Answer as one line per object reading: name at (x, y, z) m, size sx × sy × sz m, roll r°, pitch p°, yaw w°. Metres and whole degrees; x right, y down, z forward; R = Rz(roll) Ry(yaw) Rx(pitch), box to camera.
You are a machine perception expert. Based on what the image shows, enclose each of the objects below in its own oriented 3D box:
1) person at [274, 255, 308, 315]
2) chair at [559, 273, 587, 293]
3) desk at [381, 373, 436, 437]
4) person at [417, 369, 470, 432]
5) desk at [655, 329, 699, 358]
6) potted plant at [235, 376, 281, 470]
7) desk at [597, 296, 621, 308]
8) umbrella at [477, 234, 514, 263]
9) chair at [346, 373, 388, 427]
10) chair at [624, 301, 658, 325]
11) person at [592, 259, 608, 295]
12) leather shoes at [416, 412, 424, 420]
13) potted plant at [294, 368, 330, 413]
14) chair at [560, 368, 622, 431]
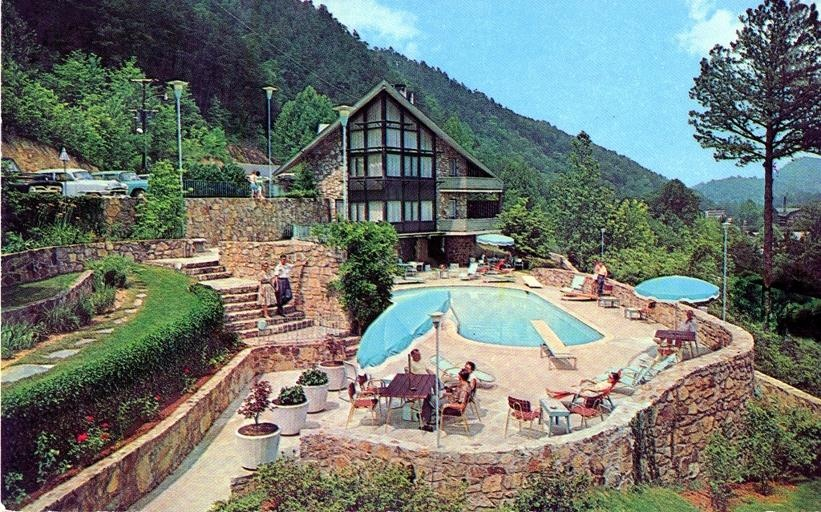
person at (-6.397, 1.491, 29.960) m, size 0.698 × 3.052 × 1.334 m, roll 0°, pitch 6°, yaw 18°
chair at (11.796, 2.061, 41.158) m, size 1.134 × 1.574 × 0.548 m, roll 12°, pitch -23°, yaw 40°
desk at (-0.042, 5.994, 22.591) m, size 1.653 × 1.278 × 2.514 m, roll 2°, pitch 5°, yaw 8°
person at (1.301, 5.455, 22.357) m, size 1.471 × 2.554 × 1.085 m, roll 20°, pitch -2°, yaw 15°
desk at (12.260, 3.892, 27.015) m, size 1.784 × 1.418 × 1.346 m, roll 2°, pitch 5°, yaw 21°
potted plant at (-5.675, 6.245, 21.768) m, size 1.507 × 3.073 × 2.341 m, roll -4°, pitch 6°, yaw -18°
desk at (12.647, 2.918, 37.139) m, size 1.397 × 0.644 × 0.865 m, roll -3°, pitch 6°, yaw -9°
umbrella at (7.561, -0.463, 51.810) m, size 2.611 × 2.438 × 2.680 m, roll 3°, pitch 5°, yaw 33°
chair at (-1.900, 5.705, 23.337) m, size 1.550 × 2.469 × 1.750 m, roll 3°, pitch 6°, yaw 14°
chair at (13.271, 3.325, 33.840) m, size 1.266 × 0.989 × 1.204 m, roll -2°, pitch 4°, yaw -26°
person at (12.645, 1.666, 38.921) m, size 0.647 × 2.059 × 1.520 m, roll -1°, pitch 6°, yaw 11°
leather shoes at (0.339, 6.149, 22.355) m, size 0.219 × 0.322 × 0.087 m, roll 5°, pitch 12°, yaw 43°
potted plant at (-3.977, 5.604, 24.419) m, size 1.516 × 1.608 × 1.539 m, roll 0°, pitch -1°, yaw -3°
chair at (7.030, 5.467, 22.583) m, size 1.522 × 1.834 × 3.179 m, roll 2°, pitch 7°, yaw 40°
